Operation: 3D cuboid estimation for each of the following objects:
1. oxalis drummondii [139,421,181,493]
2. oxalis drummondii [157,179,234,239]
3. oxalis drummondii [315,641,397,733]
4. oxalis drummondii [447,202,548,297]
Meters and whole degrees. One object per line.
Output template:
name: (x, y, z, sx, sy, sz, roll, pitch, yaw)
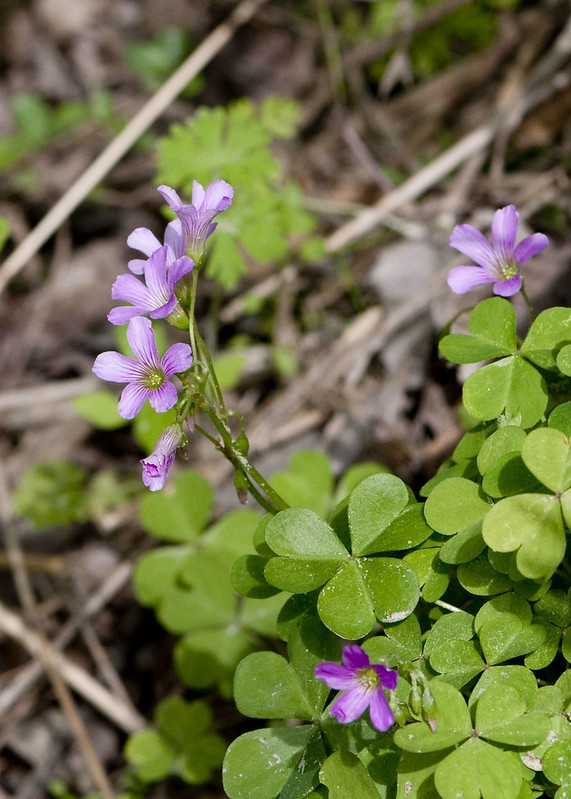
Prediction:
oxalis drummondii: (-0.277, 0.140, 1.708, 0.069, 0.072, 0.166, 25, 71, 0)
oxalis drummondii: (-0.221, -0.438, 1.813, 0.192, 0.172, 0.131, 1, 90, -13)
oxalis drummondii: (0.144, 0.577, 1.521, 0.157, 0.173, 0.145, 5, 67, 13)
oxalis drummondii: (0.520, -0.377, 1.882, 0.218, 0.248, 0.179, 1, 66, 11)
